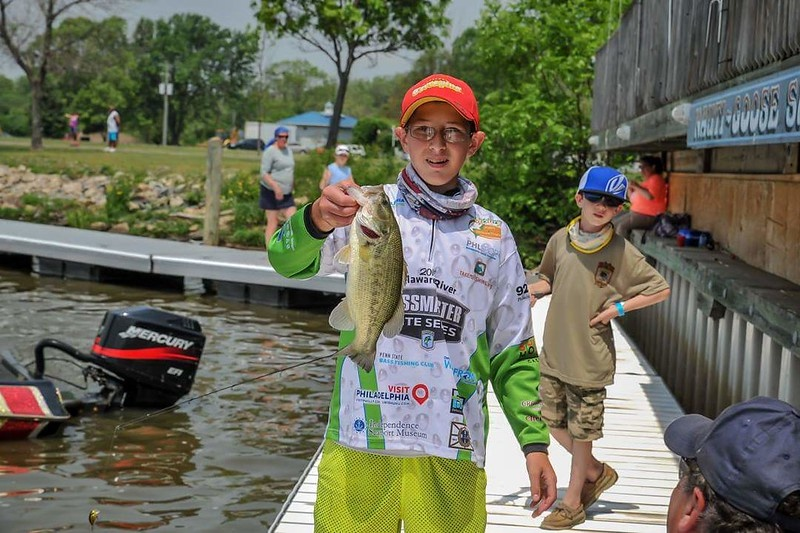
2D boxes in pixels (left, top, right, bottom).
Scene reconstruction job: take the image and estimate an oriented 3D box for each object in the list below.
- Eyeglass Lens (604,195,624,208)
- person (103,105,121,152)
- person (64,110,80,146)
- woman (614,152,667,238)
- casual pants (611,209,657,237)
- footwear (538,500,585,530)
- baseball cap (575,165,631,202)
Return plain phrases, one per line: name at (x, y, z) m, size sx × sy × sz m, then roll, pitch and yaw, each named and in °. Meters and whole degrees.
Eyeglass Lens at (1.690, -0.529, 6.809) m, size 0.089 × 0.111 × 0.058 m, roll 10°, pitch -18°, yaw 10°
person at (-7.272, -3.518, 21.441) m, size 0.367 × 0.931 × 2.009 m, roll -4°, pitch 16°, yaw -17°
person at (-8.404, -3.531, 21.683) m, size 0.434 × 0.325 × 0.997 m, roll 17°, pitch 19°, yaw -19°
woman at (3.728, -0.876, 13.298) m, size 0.807 × 1.747 × 0.712 m, roll -1°, pitch 1°, yaw 27°
casual pants at (3.541, -0.709, 13.104) m, size 0.703 × 0.243 × 0.699 m, roll 1°, pitch 13°, yaw 4°
footwear at (1.269, 1.961, 6.761) m, size 0.363 × 0.137 × 0.163 m, roll -2°, pitch -4°, yaw -32°
baseball cap at (1.639, -0.716, 6.973) m, size 0.444 × 0.293 × 0.574 m, roll 8°, pitch 16°, yaw -2°
